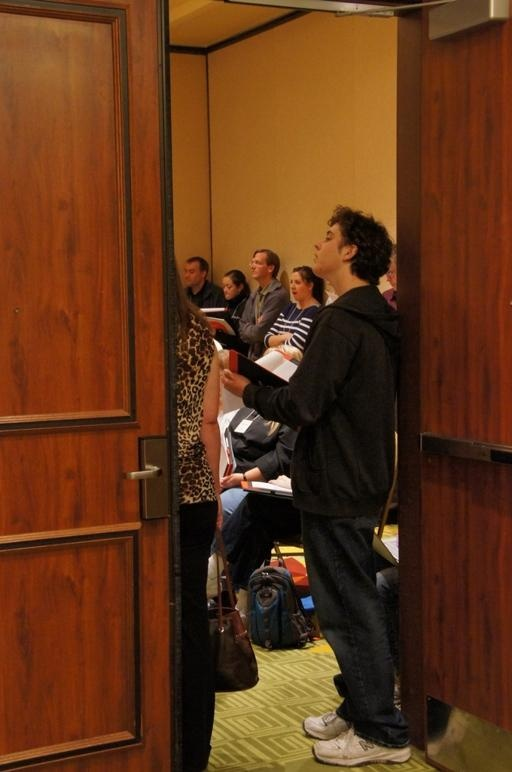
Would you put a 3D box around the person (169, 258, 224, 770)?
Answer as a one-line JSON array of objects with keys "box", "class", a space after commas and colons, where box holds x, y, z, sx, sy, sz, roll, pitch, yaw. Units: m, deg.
[{"box": [-0.138, 0.372, 1.751, 0.099, 1.253, 0.255, 0, -1, -4], "class": "person"}]

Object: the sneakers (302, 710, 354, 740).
[{"box": [0.219, 1.032, 2.186, 0.147, 0.075, 0.063, 2, 3, 4], "class": "sneakers"}]

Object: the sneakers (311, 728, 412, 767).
[{"box": [0.289, 1.050, 2.033, 0.242, 0.133, 0.109, 6, -13, -2], "class": "sneakers"}]

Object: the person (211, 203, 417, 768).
[{"box": [0.231, 0.259, 2.138, 0.438, 1.656, 0.361, 0, -2, -33], "class": "person"}]
